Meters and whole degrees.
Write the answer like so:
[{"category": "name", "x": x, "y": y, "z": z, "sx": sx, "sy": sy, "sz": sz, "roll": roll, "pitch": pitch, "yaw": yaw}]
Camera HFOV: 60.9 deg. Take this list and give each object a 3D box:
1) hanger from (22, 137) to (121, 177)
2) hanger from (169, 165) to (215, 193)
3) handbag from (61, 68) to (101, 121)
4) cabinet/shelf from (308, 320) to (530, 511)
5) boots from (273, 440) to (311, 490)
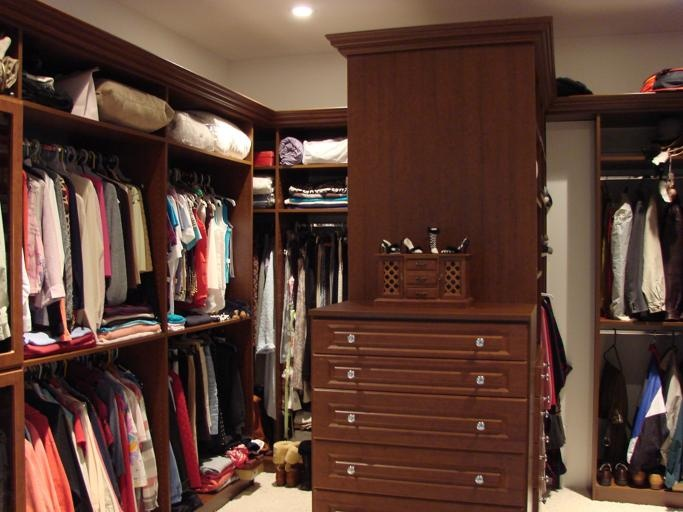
[{"category": "hanger", "x": -1.445, "y": -0.523, "z": 3.111, "sx": 0.286, "sy": 0.213, "sz": 0.681, "roll": 0, "pitch": -1, "yaw": 4}, {"category": "hanger", "x": -1.020, "y": -0.513, "z": 3.900, "sx": 0.219, "sy": 0.101, "sz": 0.313, "roll": 2, "pitch": 0, "yaw": -4}, {"category": "handbag", "x": -1.326, "y": -0.803, "z": 2.941, "sx": 0.282, "sy": 0.303, "sz": 0.115, "roll": -1, "pitch": 0, "yaw": 34}, {"category": "cabinet/shelf", "x": 0.399, "y": 0.721, "z": 2.618, "sx": 0.775, "sy": 0.827, "sz": 0.350, "roll": -1, "pitch": -2, "yaw": 14}, {"category": "boots", "x": -0.319, "y": 1.464, "z": 4.177, "sx": 0.322, "sy": 0.334, "sz": 0.248, "roll": 1, "pitch": 0, "yaw": 35}]
